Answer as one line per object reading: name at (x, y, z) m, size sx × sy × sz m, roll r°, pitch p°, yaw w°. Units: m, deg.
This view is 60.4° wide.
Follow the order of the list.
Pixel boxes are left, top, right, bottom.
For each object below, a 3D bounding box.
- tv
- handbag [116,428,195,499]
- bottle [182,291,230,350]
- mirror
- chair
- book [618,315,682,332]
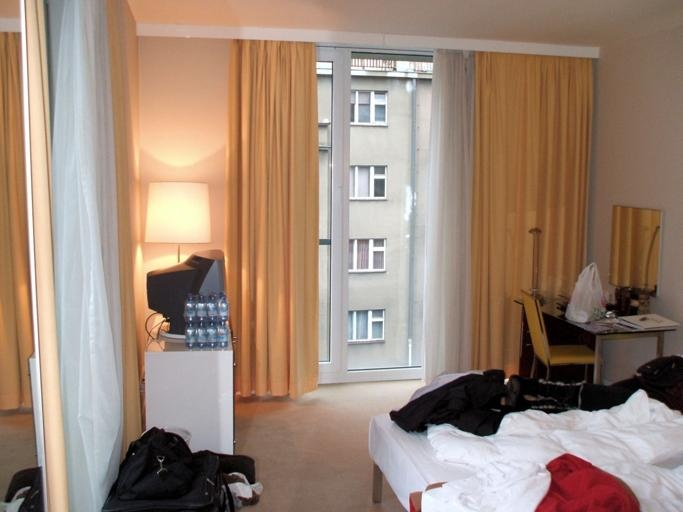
tv at (-1.047, 0.216, 4.010) m, size 0.493 × 0.559 × 0.517 m, roll -1°, pitch 6°, yaw -15°
handbag at (-1.025, 1.144, 3.319) m, size 0.263 × 0.159 × 0.378 m, roll 2°, pitch 2°, yaw -7°
bottle at (-0.879, 0.429, 3.827) m, size 0.306 × 0.422 × 0.290 m, roll 0°, pitch 0°, yaw 0°
mirror at (2.383, -0.031, 4.751) m, size 0.069 × 0.948 × 0.722 m, roll 2°, pitch 0°, yaw -14°
chair at (1.747, 0.711, 4.696) m, size 0.496 × 0.793 × 0.422 m, roll -1°, pitch 2°, yaw 5°
book at (2.293, 0.501, 4.440) m, size 0.428 × 0.052 × 0.263 m, roll -2°, pitch 13°, yaw -8°
